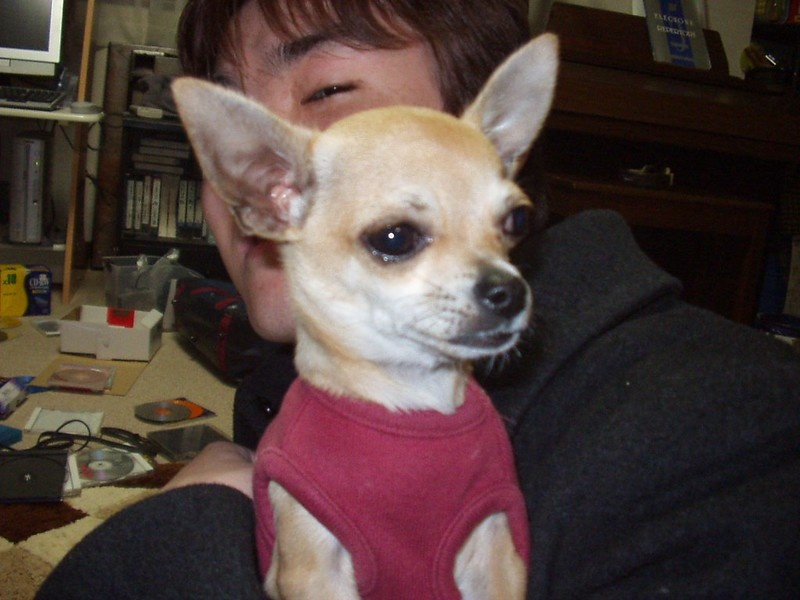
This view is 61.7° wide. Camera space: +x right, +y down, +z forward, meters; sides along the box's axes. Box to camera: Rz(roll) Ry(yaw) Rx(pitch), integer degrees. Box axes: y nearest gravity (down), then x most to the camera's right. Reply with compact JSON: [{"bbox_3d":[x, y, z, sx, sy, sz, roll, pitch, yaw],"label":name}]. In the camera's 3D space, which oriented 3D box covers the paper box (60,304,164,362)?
[{"bbox_3d":[-1.362,0.163,3.221,0.400,0.166,0.278,4,19,2],"label":"paper box"}]
